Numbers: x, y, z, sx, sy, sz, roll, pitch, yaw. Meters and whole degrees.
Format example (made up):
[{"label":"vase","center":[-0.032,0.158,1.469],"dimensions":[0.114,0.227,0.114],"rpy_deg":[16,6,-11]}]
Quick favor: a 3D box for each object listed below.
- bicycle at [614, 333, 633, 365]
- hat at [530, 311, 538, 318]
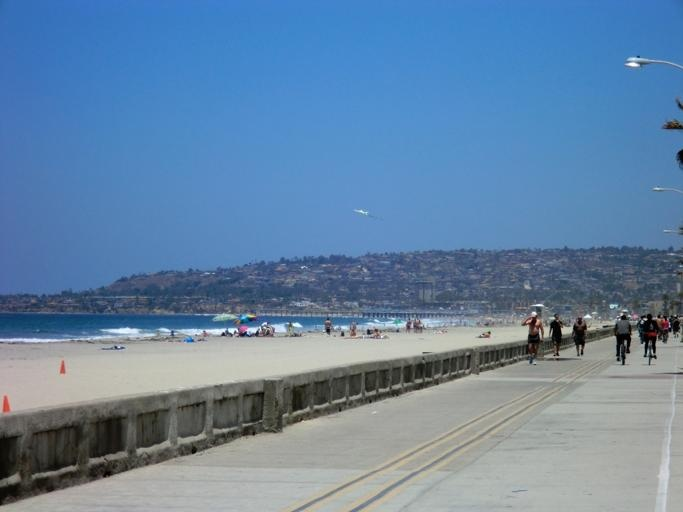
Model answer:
[{"label":"bicycle","center":[10.817,3.561,39.050],"dimensions":[1.103,1.208,2.129],"rpy_deg":[-2,-8,11]},{"label":"hat","center":[7.028,2.140,37.090],"dimensions":[0.177,0.167,0.236],"rpy_deg":[3,-4,-35]}]
